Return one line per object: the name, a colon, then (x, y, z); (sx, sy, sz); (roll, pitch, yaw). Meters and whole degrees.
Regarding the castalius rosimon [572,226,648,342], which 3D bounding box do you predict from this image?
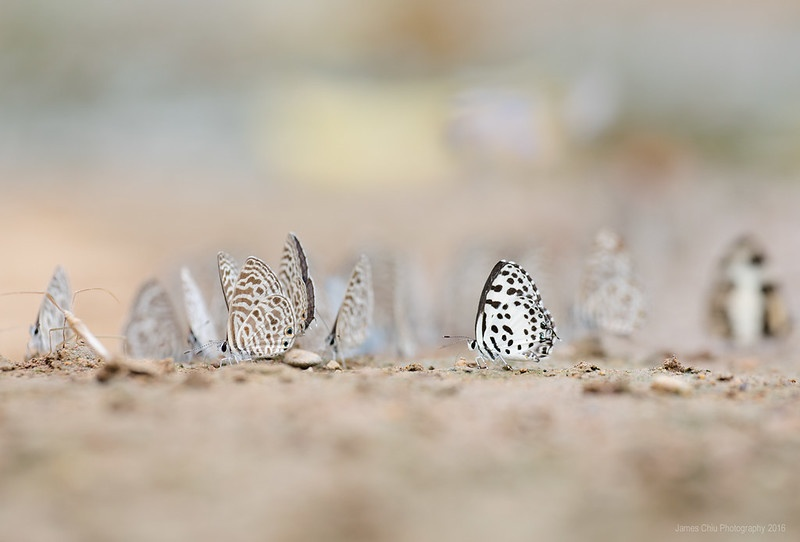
castalius rosimon: (1.232, 0.073, 6.355); (0.425, 0.646, 0.271); (0, 4, 18)
